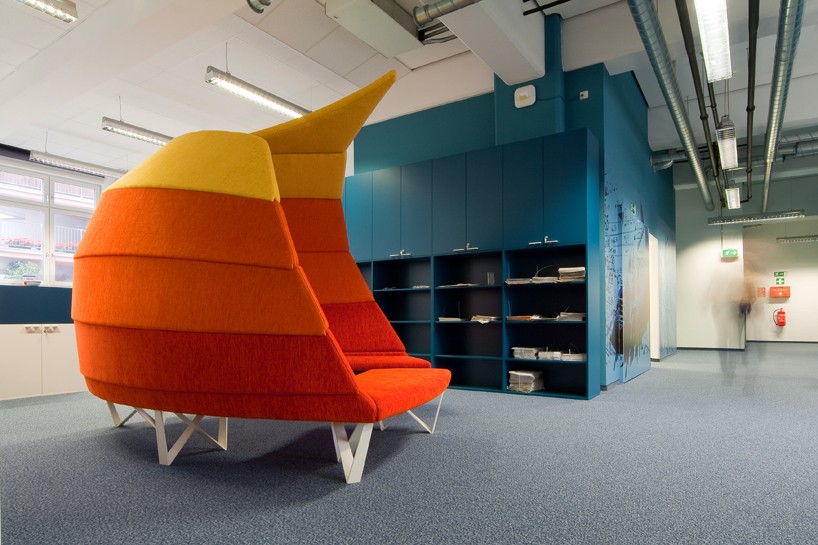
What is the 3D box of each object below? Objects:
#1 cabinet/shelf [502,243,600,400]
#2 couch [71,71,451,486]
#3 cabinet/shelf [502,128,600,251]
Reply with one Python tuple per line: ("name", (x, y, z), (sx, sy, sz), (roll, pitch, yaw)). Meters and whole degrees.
("cabinet/shelf", (1.778, 0.557, 6.391), (1.277, 1.853, 0.819), (5, 14, 20))
("couch", (-1.307, 0.047, 4.580), (2.910, 2.467, 2.147), (2, 6, -5))
("cabinet/shelf", (1.710, -0.969, 6.505), (1.076, 1.509, 0.505), (-2, -21, 18))
